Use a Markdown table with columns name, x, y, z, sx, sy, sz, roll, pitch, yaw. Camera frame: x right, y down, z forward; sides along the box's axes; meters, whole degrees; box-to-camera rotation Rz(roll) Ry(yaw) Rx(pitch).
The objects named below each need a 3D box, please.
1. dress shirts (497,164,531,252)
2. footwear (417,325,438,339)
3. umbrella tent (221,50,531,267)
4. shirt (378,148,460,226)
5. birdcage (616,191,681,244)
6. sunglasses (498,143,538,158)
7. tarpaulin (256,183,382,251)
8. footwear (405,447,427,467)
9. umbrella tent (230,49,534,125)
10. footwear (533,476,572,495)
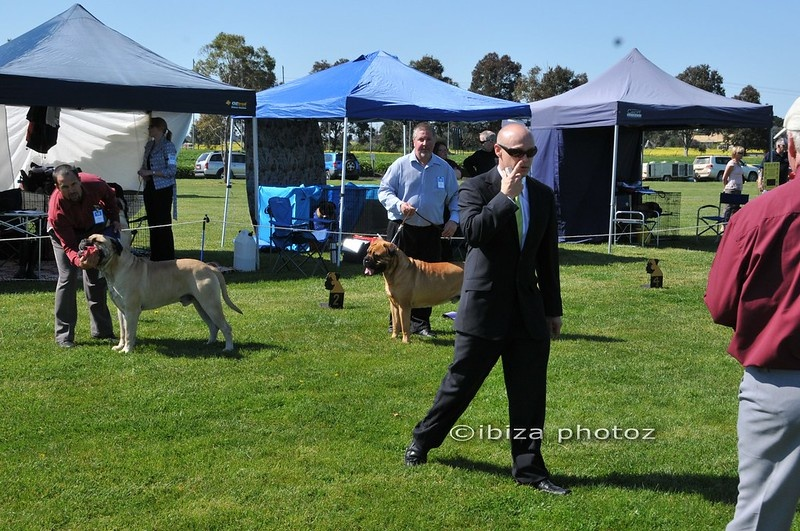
| name | x | y | z | sx | sy | sz | roll | pitch | yaw |
| --- | --- | --- | --- | --- | --- | --- | --- | --- | --- |
| dress shirts | 1.022 | -0.505 | 7.651 | 0.323 | 0.629 | 0.143 | -1 | 4 | -11 |
| footwear | 0.313 | 0.863 | 11.249 | 0.294 | 0.138 | 0.105 | 0 | 0 | 32 |
| umbrella tent | -0.257 | -2.994 | 15.682 | 3.905 | 3.046 | 4.045 | -4 | 10 | -19 |
| shirt | 0.265 | -1.001 | 11.073 | 1.079 | 0.977 | 0.638 | 2 | 8 | -12 |
| birdcage | 5.602 | -1.085 | 19.956 | 0.685 | 0.894 | 1.328 | -1 | 0 | 30 |
| sunglasses | 1.002 | -0.995 | 7.563 | 0.323 | 0.106 | 0.127 | 1 | 7 | 2 |
| tarpaulin | -1.648 | -1.210 | 17.056 | 1.555 | 1.052 | 1.618 | 4 | 5 | 43 |
| footwear | 0.131 | 1.770 | 8.042 | 0.125 | 0.155 | 0.211 | 5 | -13 | -24 |
| umbrella tent | 0.267 | -3.066 | 15.747 | 3.904 | 1.291 | 4.162 | -6 | 10 | -37 |
| footwear | 1.334 | 1.951 | 7.765 | 0.322 | 0.138 | 0.124 | 5 | 11 | 24 |
